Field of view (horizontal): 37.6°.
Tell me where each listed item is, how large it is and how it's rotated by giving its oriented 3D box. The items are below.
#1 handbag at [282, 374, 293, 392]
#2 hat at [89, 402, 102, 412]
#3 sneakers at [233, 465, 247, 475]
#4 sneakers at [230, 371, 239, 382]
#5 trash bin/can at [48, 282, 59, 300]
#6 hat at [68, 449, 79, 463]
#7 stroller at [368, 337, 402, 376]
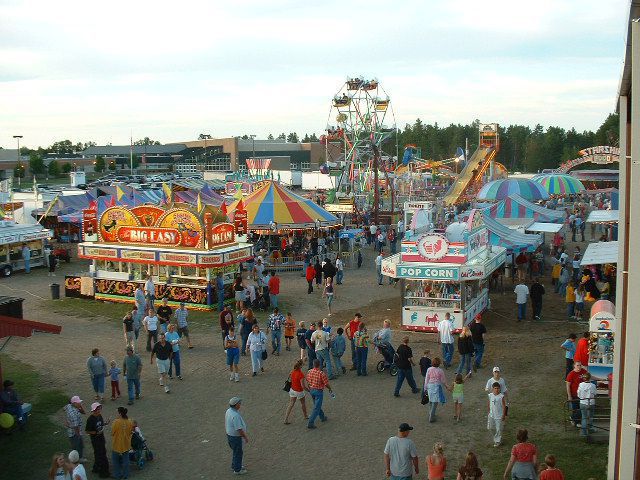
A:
[{"bbox_3d":[-0.740,3.203,20.758,0.182,0.435,0.504,-1,11,-2],"label":"handbag"},{"bbox_3d":[-4.487,3.338,18.842,0.160,0.215,0.320,-2,12,-9],"label":"hat"},{"bbox_3d":[-1.582,4.584,18.827,0.287,0.120,0.109,-7,13,-34],"label":"sneakers"},{"bbox_3d":[-2.103,3.350,23.352,0.134,0.242,0.359,1,10,-2],"label":"sneakers"},{"bbox_3d":[-9.028,1.735,32.021,0.469,0.597,0.452,-1,-2,-39],"label":"trash bin/can"},{"bbox_3d":[-4.589,4.043,17.589,0.150,0.256,0.325,-3,12,-10],"label":"hat"},{"bbox_3d":[1.643,2.928,23.501,0.954,0.932,0.574,-5,5,-41],"label":"stroller"}]
